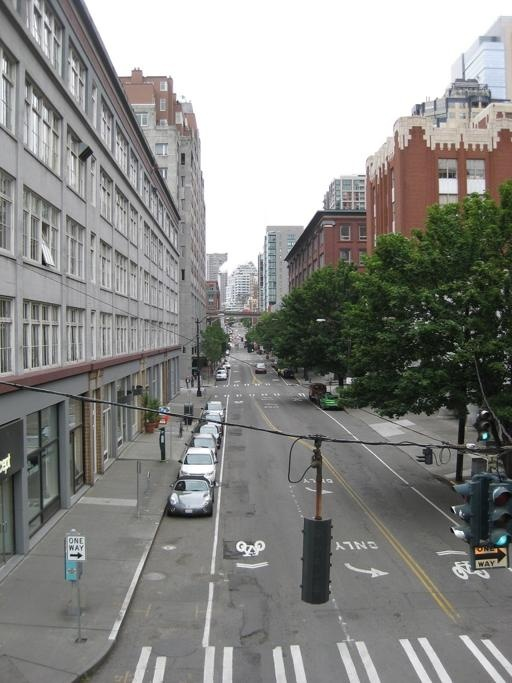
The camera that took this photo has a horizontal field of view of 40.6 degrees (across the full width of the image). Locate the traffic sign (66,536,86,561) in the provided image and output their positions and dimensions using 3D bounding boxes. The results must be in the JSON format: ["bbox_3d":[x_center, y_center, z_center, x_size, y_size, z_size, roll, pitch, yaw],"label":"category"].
[{"bbox_3d":[-3.628,4.102,13.815,0.346,0.694,0.059,0,-1,-4],"label":"traffic sign"}]

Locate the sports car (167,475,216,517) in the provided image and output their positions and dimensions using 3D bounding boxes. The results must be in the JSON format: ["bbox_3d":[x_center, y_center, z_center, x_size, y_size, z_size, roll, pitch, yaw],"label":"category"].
[{"bbox_3d":[-2.133,5.000,22.260,1.446,1.005,1.548,1,1,-7],"label":"sports car"}]
